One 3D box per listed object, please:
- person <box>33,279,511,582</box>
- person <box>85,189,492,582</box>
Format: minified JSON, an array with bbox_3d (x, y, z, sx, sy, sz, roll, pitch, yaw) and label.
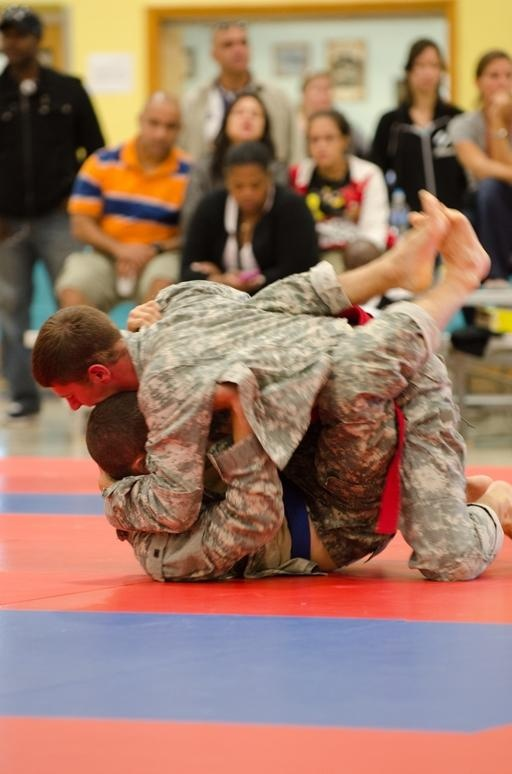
[{"bbox_3d":[0.091,0.095,1.584,1.096,0.578,0.680,3,16,-5],"label":"person"},{"bbox_3d":[0.117,0.081,1.574,0.951,0.452,0.505,-6,34,11],"label":"person"}]
